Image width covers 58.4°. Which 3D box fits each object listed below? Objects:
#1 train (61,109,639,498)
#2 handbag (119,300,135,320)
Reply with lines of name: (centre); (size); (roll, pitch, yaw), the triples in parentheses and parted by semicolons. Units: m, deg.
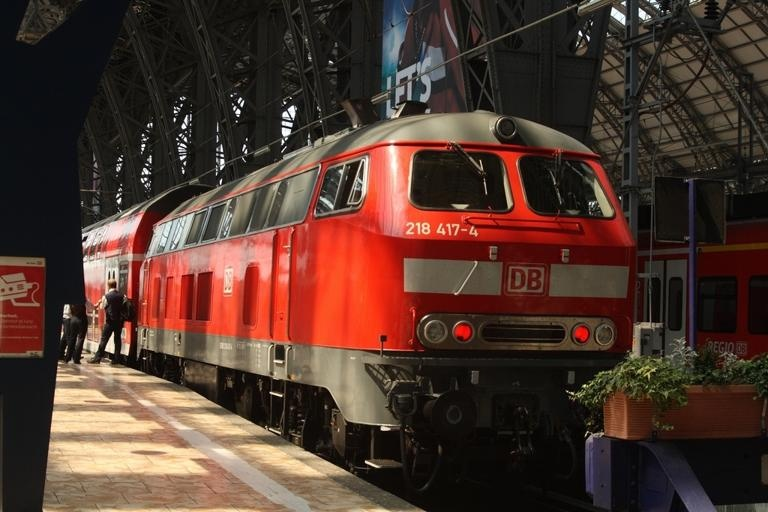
train: (-1.958, 1.155, 15.531); (4.191, 5.708, 16.399); (3, -6, -20)
handbag: (-7.054, 1.495, 18.852); (0.231, 0.540, 0.507); (-2, -3, -4)
